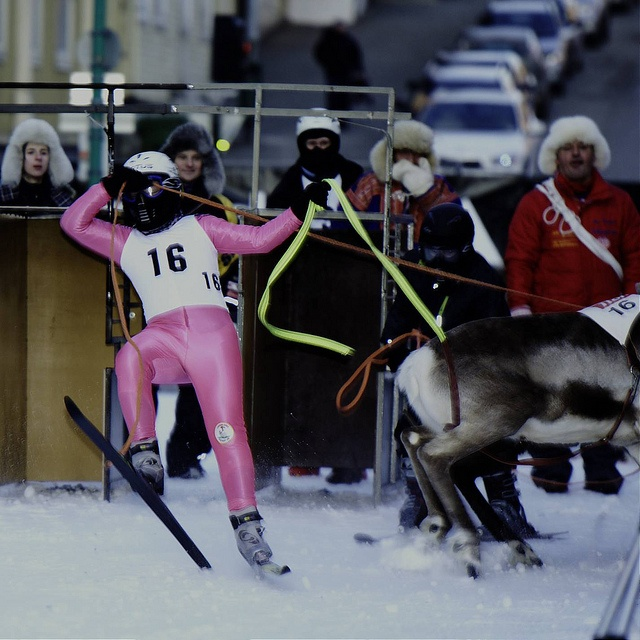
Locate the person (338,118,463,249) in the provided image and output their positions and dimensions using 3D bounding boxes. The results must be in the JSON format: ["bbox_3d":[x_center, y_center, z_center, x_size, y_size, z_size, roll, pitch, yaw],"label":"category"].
[{"bbox_3d":[0.525,-0.872,11.381,0.695,0.840,0.344,-1,7,2],"label":"person"}]

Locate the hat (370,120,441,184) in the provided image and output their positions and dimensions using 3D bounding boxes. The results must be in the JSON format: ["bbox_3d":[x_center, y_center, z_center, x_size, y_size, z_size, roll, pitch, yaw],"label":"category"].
[{"bbox_3d":[0.576,-1.157,11.787,0.395,0.182,0.452,7,-19,6],"label":"hat"}]

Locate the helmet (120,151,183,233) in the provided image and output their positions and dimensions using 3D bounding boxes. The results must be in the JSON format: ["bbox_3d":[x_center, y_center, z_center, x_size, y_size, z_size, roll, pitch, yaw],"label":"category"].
[{"bbox_3d":[-0.890,-0.750,9.989,0.337,0.432,0.447,-16,15,9],"label":"helmet"}]

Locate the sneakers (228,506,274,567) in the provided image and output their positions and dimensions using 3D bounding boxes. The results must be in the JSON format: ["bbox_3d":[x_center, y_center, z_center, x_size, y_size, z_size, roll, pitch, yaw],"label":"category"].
[{"bbox_3d":[-0.367,1.137,9.399,0.196,0.302,0.127,-15,-32,-9],"label":"sneakers"}]

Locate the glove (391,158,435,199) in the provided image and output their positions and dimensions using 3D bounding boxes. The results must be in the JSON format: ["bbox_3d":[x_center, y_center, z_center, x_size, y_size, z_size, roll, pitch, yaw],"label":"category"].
[{"bbox_3d":[0.604,-0.917,11.484,0.269,0.258,0.103,-29,-5,-39],"label":"glove"}]

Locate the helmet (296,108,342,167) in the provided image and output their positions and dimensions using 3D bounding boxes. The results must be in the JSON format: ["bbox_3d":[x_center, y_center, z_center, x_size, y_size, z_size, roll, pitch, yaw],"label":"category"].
[{"bbox_3d":[-0.013,-1.209,11.824,0.349,0.379,0.445,-3,5,1],"label":"helmet"}]

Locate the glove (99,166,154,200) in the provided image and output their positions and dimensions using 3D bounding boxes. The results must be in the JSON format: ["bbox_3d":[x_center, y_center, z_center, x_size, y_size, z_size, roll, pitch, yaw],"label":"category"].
[{"bbox_3d":[-1.068,-0.758,9.827,0.226,0.196,0.167,-23,16,6],"label":"glove"}]

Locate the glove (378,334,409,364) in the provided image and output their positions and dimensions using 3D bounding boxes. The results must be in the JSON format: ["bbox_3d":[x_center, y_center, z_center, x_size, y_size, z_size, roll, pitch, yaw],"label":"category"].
[{"bbox_3d":[0.408,0.161,10.241,0.181,0.041,0.174,-19,-12,-48],"label":"glove"}]

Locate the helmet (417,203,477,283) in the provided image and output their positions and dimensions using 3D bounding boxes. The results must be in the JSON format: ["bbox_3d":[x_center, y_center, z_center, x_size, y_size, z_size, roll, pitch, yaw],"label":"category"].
[{"bbox_3d":[0.751,-0.479,10.314,0.337,0.414,0.455,3,19,13],"label":"helmet"}]

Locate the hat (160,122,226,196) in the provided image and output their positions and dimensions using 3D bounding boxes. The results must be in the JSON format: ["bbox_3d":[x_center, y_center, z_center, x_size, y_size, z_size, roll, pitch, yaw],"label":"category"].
[{"bbox_3d":[-0.789,-1.070,11.746,0.396,0.487,0.198,-6,4,8],"label":"hat"}]

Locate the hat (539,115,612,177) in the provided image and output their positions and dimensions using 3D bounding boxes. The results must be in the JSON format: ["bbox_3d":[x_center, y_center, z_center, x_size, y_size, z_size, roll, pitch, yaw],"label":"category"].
[{"bbox_3d":[1.636,-1.143,11.298,0.451,0.365,0.380,0,-7,1],"label":"hat"}]
